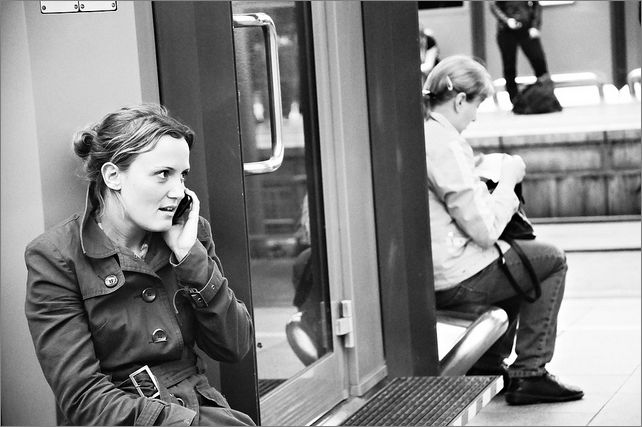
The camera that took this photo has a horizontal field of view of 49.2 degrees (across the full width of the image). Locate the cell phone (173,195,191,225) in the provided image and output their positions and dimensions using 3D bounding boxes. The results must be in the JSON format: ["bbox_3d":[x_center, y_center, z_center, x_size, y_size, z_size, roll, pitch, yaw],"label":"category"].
[{"bbox_3d":[-0.503,-0.012,2.522,0.028,0.088,0.089,18,25,9],"label":"cell phone"}]

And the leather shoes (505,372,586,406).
[{"bbox_3d":[1.304,1.027,4.227,0.495,0.233,0.182,-2,-1,-8],"label":"leather shoes"}]

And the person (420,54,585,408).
[{"bbox_3d":[1.071,0.101,4.277,0.800,2.088,0.623,-3,13,12],"label":"person"}]

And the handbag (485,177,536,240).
[{"bbox_3d":[1.156,0.026,4.231,0.355,0.350,0.129,1,-26,4],"label":"handbag"}]
